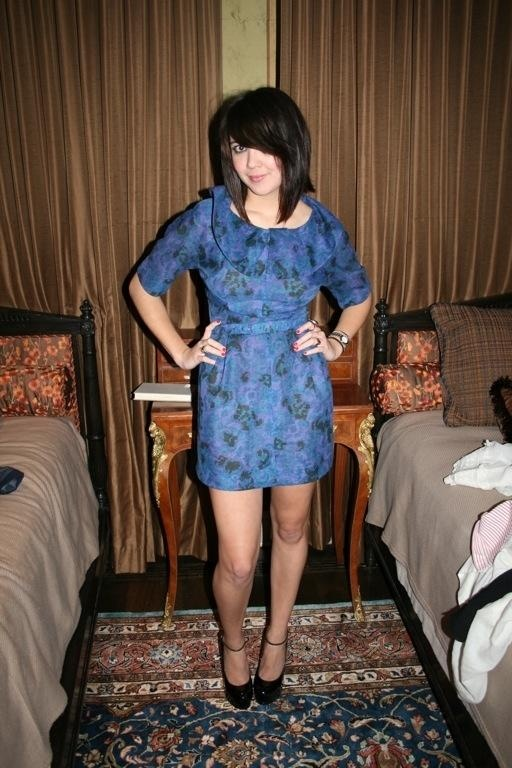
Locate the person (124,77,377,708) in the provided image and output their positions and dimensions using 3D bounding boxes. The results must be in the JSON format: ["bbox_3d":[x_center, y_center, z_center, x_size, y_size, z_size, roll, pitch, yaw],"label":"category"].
[{"bbox_3d":[0.033,0.136,1.407,0.610,1.571,0.351,-6,12,-23],"label":"person"}]

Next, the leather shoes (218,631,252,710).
[{"bbox_3d":[-0.065,0.777,1.539,0.079,0.250,0.057,-4,14,-3],"label":"leather shoes"}]

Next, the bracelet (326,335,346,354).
[{"bbox_3d":[0.213,-0.109,1.441,0.023,0.054,0.044,-30,30,-14],"label":"bracelet"}]

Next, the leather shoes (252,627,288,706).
[{"bbox_3d":[0.038,0.789,1.560,0.074,0.236,0.051,6,15,7],"label":"leather shoes"}]

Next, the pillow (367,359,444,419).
[{"bbox_3d":[0.542,0.035,2.042,0.224,0.197,0.178,-4,-7,-3],"label":"pillow"}]

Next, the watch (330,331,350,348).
[{"bbox_3d":[0.218,-0.110,1.464,0.019,0.047,0.049,-37,20,19],"label":"watch"}]
